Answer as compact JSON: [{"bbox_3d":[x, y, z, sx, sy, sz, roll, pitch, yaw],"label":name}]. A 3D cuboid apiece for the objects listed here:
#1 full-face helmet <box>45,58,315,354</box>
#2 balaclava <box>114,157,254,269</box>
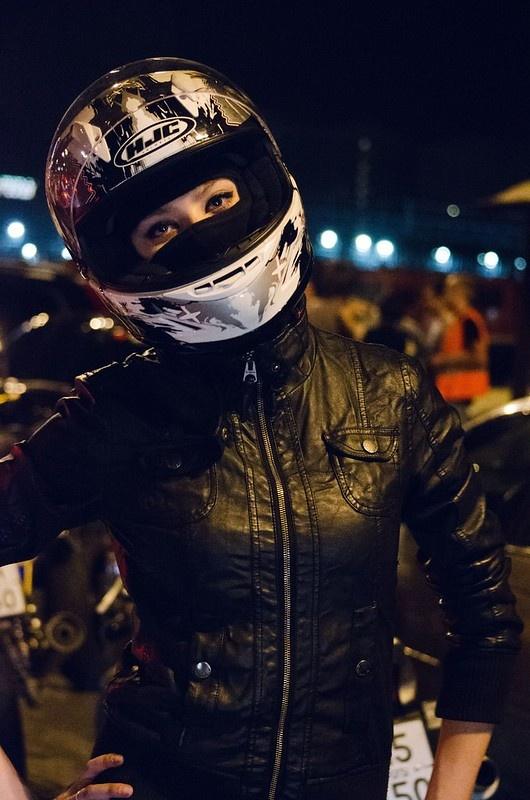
[{"bbox_3d":[-0.183,-0.405,1.558,0.455,0.472,0.572,-24,31,-8],"label":"full-face helmet"},{"bbox_3d":[-0.140,-0.310,1.411,0.177,0.097,0.137,-35,-3,-5],"label":"balaclava"}]
